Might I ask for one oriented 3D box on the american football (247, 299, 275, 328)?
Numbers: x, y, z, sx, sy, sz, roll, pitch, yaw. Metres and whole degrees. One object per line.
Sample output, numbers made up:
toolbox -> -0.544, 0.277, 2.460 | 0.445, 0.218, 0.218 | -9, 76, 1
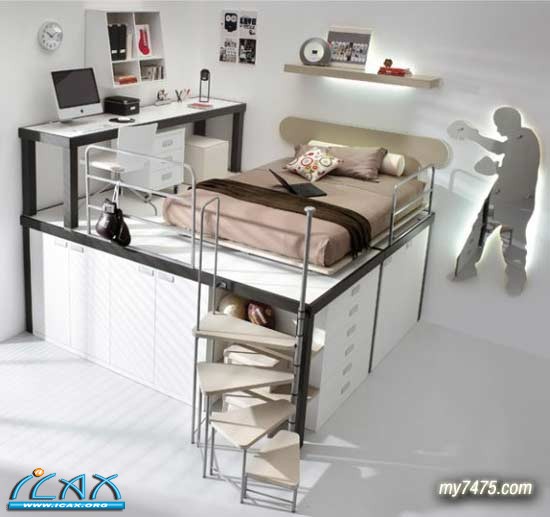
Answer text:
american football -> -0.088, 0.338, 2.976 | 0.132, 0.165, 0.056 | -33, 0, -11

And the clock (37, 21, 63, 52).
clock -> -1.671, -1.636, 3.620 | 0.050, 0.244, 0.251 | 9, 20, 21

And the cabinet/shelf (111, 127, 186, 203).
cabinet/shelf -> -1.107, -0.909, 4.445 | 0.316, 0.489, 0.557 | 16, 27, 20

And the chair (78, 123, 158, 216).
chair -> -1.235, -0.700, 3.849 | 0.525, 0.725, 0.486 | 24, 39, 21

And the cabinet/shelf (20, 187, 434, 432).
cabinet/shelf -> -0.010, -0.125, 3.693 | 1.951, 0.799, 1.898 | 12, 22, 23

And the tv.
tv -> -1.580, -1.286, 3.832 | 0.153, 0.325, 0.474 | 19, 28, 22

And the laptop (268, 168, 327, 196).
laptop -> 0.215, -0.523, 3.704 | 0.285, 0.114, 0.266 | -12, 33, -22

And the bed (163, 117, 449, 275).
bed -> 0.496, -0.451, 3.627 | 1.555, 0.475, 1.605 | 19, 35, 29

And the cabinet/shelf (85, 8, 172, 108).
cabinet/shelf -> -1.299, -1.858, 4.394 | 0.262, 0.621, 0.681 | 15, 32, 21

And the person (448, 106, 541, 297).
person -> 1.779, -0.455, 3.993 | 0.714, 1.476, 0.173 | 12, 23, 25
